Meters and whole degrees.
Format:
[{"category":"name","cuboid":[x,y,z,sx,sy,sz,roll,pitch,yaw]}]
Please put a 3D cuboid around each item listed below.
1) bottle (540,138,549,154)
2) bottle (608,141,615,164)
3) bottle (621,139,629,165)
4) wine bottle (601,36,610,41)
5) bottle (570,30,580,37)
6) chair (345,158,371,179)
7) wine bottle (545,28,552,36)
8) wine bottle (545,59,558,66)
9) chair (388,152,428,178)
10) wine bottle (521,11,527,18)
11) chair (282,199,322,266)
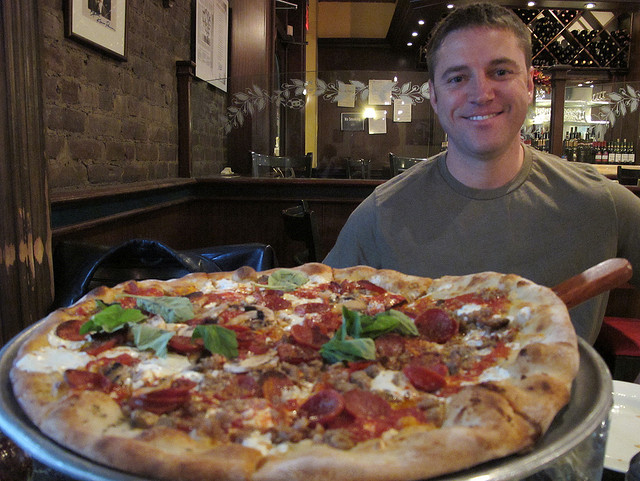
[{"category":"bottle","cuboid":[1.801,-0.771,3.854,0.066,0.104,0.196,5,12,24]},{"category":"bottle","cuboid":[2.489,-0.747,4.103,0.047,0.179,0.216,6,12,30]},{"category":"bottle","cuboid":[2.459,-0.718,3.874,0.049,0.194,0.121,6,12,30]},{"category":"wine bottle","cuboid":[4.156,-2.930,6.993,0.088,0.045,0.015,6,12,29]},{"category":"bottle","cuboid":[3.670,-2.992,6.948,0.135,0.105,0.053,-4,11,-19]},{"category":"chair","cuboid":[0.351,-0.661,4.416,0.243,0.194,0.175,3,11,13]},{"category":"wine bottle","cuboid":[3.249,-2.979,6.857,0.058,0.065,0.016,13,4,9]},{"category":"wine bottle","cuboid":[3.377,-2.595,7.016,0.173,0.046,0.169,-9,5,1]},{"category":"chair","cuboid":[0.761,-0.667,4.187,0.253,0.282,0.276,0,10,-3]},{"category":"wine bottle","cuboid":[2.863,-3.170,6.753,0.056,0.063,0.024,12,4,15]},{"category":"chair","cuboid":[-0.129,-0.031,3.228,0.242,0.506,0.603,-1,11,-5]}]
